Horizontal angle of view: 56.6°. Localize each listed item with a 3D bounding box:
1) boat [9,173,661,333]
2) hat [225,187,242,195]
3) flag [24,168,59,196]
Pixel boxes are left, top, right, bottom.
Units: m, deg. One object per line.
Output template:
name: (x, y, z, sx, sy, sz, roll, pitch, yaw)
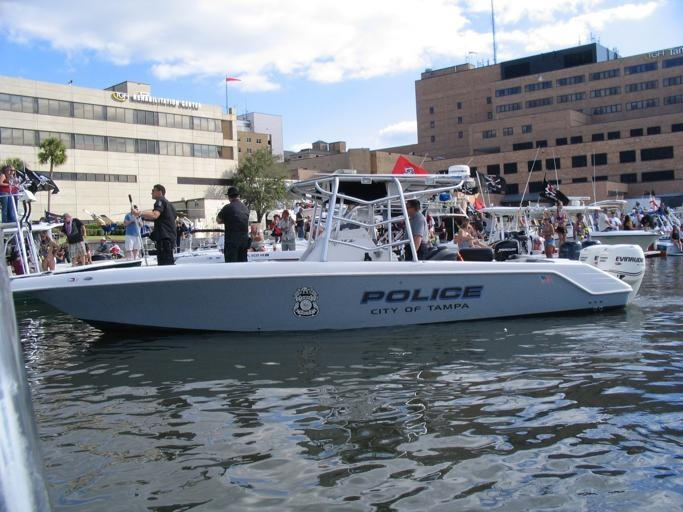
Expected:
boat: (1.406, 0.207, 10.298, 11.883, 2.387, 2.751, 2, -6, -15)
hat: (-1.636, -1.006, 9.643, 0.198, 0.062, 0.200, 1, 1, 5)
flag: (-6.996, -1.776, 14.506, 0.770, 0.305, 0.768, -14, 45, -39)
